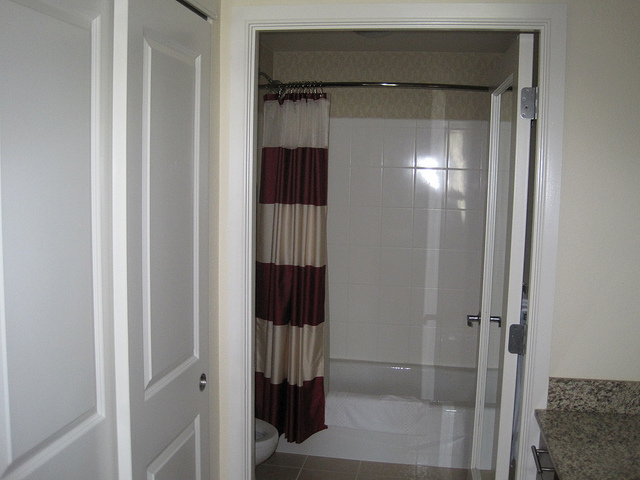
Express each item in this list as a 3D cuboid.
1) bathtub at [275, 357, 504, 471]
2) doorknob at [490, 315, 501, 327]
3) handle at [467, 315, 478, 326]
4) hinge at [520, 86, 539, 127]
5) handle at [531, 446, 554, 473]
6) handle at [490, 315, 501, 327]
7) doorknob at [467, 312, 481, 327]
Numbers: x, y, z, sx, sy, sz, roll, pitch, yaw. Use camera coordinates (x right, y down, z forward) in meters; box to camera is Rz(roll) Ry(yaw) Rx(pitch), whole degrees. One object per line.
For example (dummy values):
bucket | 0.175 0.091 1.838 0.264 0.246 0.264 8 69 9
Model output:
bathtub | 0.490 1.174 3.325 1.125 0.314 0.500 -4 -13 25
doorknob | 0.830 0.376 2.431 0.066 0.040 0.101 1 0 10
handle | 0.822 0.419 2.774 0.057 0.062 0.046 0 2 8
hinge | 0.871 -0.554 2.150 0.067 0.159 0.022 2 4 9
handle | 0.909 0.887 2.104 0.064 0.107 0.019 0 -11 13
handle | 0.826 0.372 2.431 0.010 0.055 0.051 -2 6 -31
doorknob | 0.820 0.416 2.744 0.066 0.077 0.053 3 8 20
